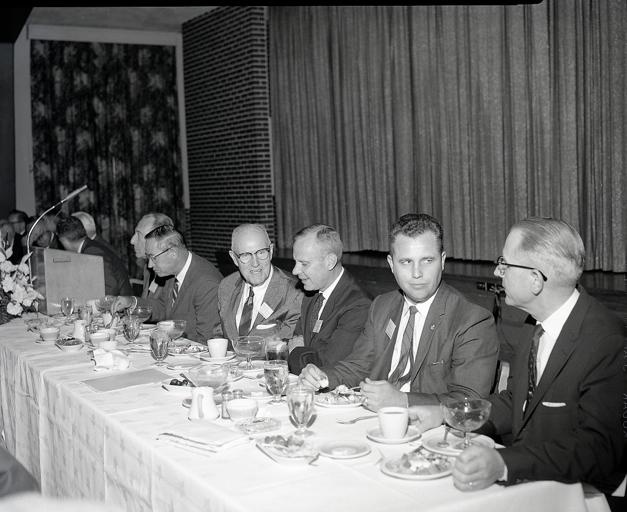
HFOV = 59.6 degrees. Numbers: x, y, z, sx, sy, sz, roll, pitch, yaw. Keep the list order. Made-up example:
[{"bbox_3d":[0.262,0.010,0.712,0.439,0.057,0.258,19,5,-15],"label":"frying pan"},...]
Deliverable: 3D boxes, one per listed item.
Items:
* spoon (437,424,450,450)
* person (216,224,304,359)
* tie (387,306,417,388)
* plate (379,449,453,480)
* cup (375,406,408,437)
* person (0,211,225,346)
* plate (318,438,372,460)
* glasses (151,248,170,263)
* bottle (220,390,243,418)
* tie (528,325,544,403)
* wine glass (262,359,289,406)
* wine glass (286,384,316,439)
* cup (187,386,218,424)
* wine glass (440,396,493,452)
[{"bbox_3d":[0.365,0.509,1.516,0.030,0.053,0.031,2,-2,-1],"label":"spoon"},{"bbox_3d":[-0.351,0.344,3.209,0.556,1.021,0.506,3,13,7],"label":"person"},{"bbox_3d":[0.380,0.382,2.232,0.095,0.343,0.047,8,-8,44],"label":"tie"},{"bbox_3d":[0.247,0.509,1.318,0.168,0.028,0.100,-4,6,-13],"label":"plate"},{"bbox_3d":[0.222,0.471,1.534,0.080,0.086,0.075,-3,7,0],"label":"cup"},{"bbox_3d":[-1.634,0.139,4.318,0.816,0.648,1.415,9,21,-9],"label":"person"},{"bbox_3d":[0.081,0.511,1.446,0.136,0.019,0.115,-3,5,3],"label":"plate"},{"bbox_3d":[-1.023,-0.008,3.609,0.137,0.082,0.053,0,7,27],"label":"glasses"},{"bbox_3d":[-0.274,0.489,1.818,0.065,0.075,0.067,0,-2,-5],"label":"bottle"},{"bbox_3d":[0.731,0.342,1.797,0.041,0.305,0.035,1,-25,27],"label":"tie"},{"bbox_3d":[-0.126,0.430,1.832,0.105,0.182,0.113,-3,-6,-4],"label":"wine glass"},{"bbox_3d":[-0.036,0.438,1.550,0.076,0.134,0.083,-2,-2,-15],"label":"wine glass"},{"bbox_3d":[-0.356,0.481,1.747,0.095,0.105,0.145,-1,1,-11],"label":"cup"},{"bbox_3d":[0.413,0.453,1.476,0.119,0.120,0.122,3,6,38],"label":"wine glass"}]
